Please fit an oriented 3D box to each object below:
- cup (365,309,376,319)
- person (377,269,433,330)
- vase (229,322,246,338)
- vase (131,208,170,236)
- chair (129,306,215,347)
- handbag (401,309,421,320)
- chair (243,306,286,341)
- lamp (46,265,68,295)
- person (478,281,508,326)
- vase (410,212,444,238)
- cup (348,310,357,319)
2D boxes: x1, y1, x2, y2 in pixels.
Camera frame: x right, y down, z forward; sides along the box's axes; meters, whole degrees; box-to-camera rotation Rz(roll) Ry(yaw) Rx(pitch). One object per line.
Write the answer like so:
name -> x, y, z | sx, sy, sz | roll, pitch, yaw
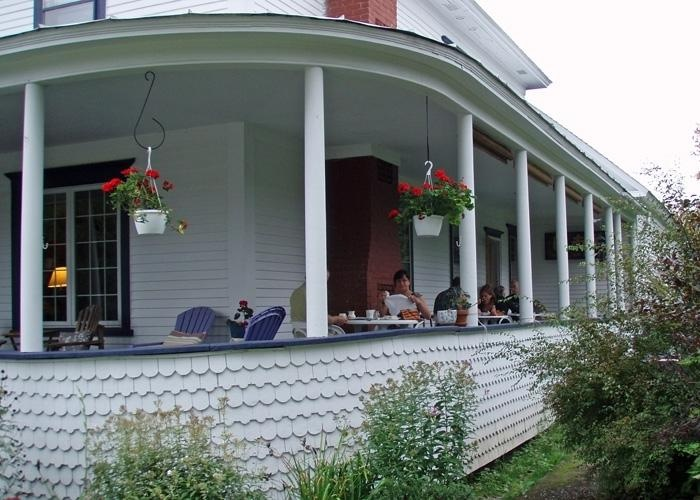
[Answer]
cup -> 0.274, 0.867, 9.822 | 0.115, 0.125, 0.119 | 1, 2, 0
person -> 0.689, 0.693, 9.275 | 0.588, 0.898, 0.501 | -15, -26, 18
vase -> -1.164, 0.821, 7.541 | 0.161, 0.177, 0.166 | -1, -2, 8
vase -> -2.208, -0.309, 7.854 | 0.284, 0.192, 0.294 | -3, -5, 36
chair -> -2.045, 0.956, 8.815 | 0.551, 0.477, 1.028 | -3, 2, 19
handbag -> 0.732, 0.784, 8.884 | 0.252, 0.148, 0.322 | -5, -8, 4
chair -> -0.843, 0.728, 7.121 | 0.416, 0.341, 0.438 | -2, -9, -12
lamp -> -4.175, 0.404, 10.301 | 0.309, 0.342, 0.319 | 0, -1, 43
person -> 2.136, 0.934, 11.187 | 0.437, 0.763, 0.396 | -7, 3, -13
vase -> 0.916, -0.292, 8.524 | 0.274, 0.174, 0.279 | 1, -5, -3
cup -> 0.024, 0.817, 9.195 | 0.086, 0.079, 0.091 | 0, 4, 0
